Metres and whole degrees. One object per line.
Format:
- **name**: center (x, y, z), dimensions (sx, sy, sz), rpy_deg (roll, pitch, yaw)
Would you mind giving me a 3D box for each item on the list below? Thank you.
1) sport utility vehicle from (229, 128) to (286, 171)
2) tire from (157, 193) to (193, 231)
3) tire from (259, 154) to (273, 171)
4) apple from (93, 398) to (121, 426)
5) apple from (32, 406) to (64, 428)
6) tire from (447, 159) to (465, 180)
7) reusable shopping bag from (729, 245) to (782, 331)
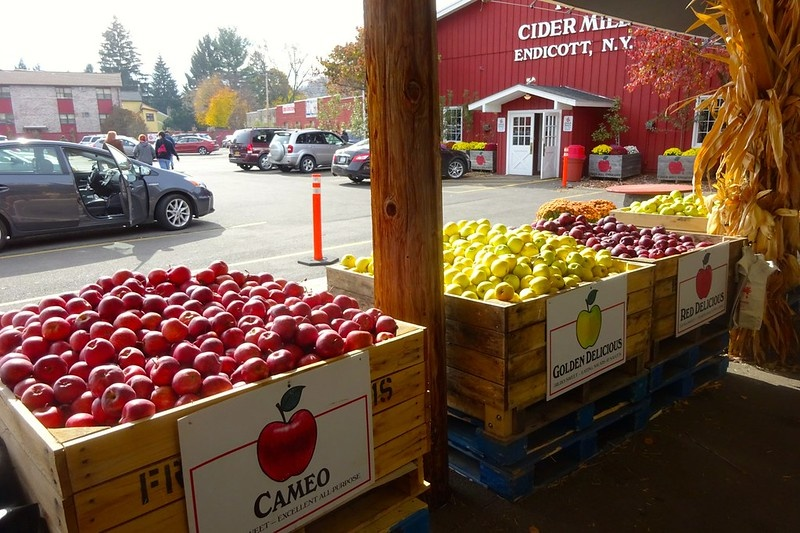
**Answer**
- **sport utility vehicle**: center (-7.465, -5.882, 24.441), dimensions (3.118, 1.605, 1.805), rpy_deg (-19, 24, -34)
- **tire**: center (-5.050, -1.250, 10.871), dimensions (0.221, 0.699, 0.695), rpy_deg (7, 17, 33)
- **tire**: center (-6.640, -5.179, 24.030), dimensions (0.203, 0.582, 0.587), rpy_deg (27, 38, 28)
- **apple**: center (-1.323, 0.659, 2.193), dimensions (0.119, 0.132, 0.119), rpy_deg (12, -3, -35)
- **apple**: center (-1.557, 0.678, 2.179), dimensions (0.097, 0.097, 0.098), rpy_deg (-1, 23, -13)
- **tire**: center (2.279, -4.063, 20.183), dimensions (0.667, 0.675, 0.271), rpy_deg (-16, 24, -33)
- **reusable shopping bag**: center (3.565, 0.280, 4.954), dimensions (0.308, 0.926, 0.439), rpy_deg (10, 22, 39)
